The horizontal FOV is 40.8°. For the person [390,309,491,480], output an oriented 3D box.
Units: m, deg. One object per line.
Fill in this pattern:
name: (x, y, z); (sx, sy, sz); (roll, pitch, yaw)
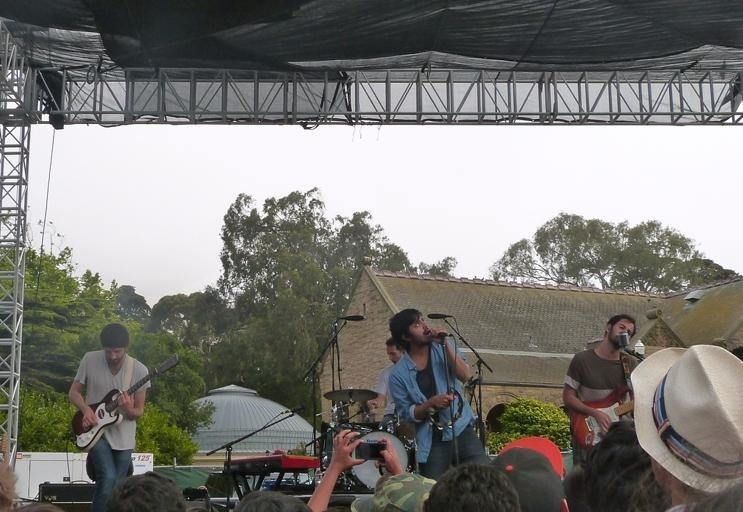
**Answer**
person: (1.063, 2.163, 15.130); (1.176, 2.739, 1.249); (4, -7, -32)

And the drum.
drum: (0.145, 3.071, 14.699); (1.046, 0.940, 0.804); (2, -6, -6)

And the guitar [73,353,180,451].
guitar: (-4.063, 2.418, 15.979); (1.376, 1.342, 0.614); (2, -11, -17)
